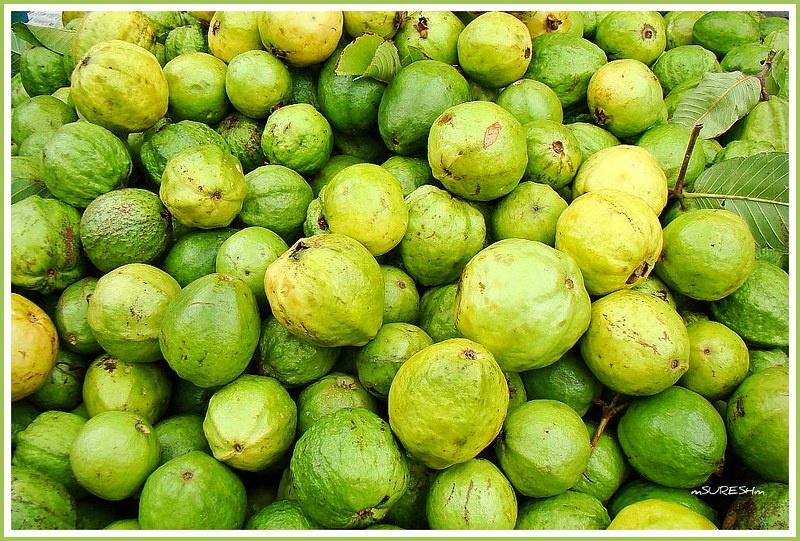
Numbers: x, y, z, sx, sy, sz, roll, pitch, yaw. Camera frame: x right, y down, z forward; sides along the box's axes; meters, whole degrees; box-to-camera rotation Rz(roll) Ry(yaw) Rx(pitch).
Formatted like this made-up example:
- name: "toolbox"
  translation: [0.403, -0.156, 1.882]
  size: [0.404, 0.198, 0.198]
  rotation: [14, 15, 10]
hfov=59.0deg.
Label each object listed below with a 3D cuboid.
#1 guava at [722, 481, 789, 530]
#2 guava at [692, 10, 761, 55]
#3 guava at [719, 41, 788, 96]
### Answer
- name: "guava"
  translation: [2.091, 1.387, 4.153]
  size: [0.298, 0.215, 0.285]
  rotation: [10, 62, 8]
- name: "guava"
  translation: [2.615, -1.942, 5.723]
  size: [0.461, 0.351, 0.342]
  rotation: [0, 79, 17]
- name: "guava"
  translation: [2.740, -1.575, 5.400]
  size: [0.464, 0.262, 0.348]
  rotation: [1, 51, -29]
